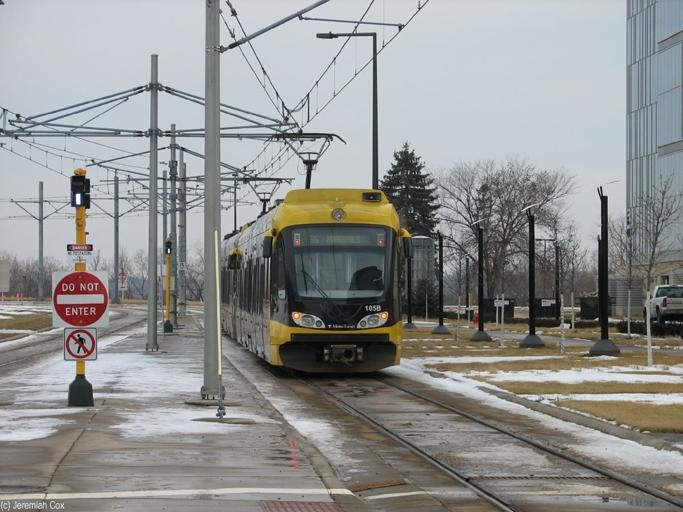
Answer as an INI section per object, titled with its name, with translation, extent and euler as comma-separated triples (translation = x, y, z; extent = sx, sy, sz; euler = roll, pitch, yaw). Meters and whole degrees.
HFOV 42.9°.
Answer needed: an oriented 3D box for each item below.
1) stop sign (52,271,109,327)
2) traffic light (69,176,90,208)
[stop sign]
translation = -4.368, 0.732, 14.529
extent = 0.936, 0.943, 0.041
euler = 0, 6, -3
[traffic light]
translation = -4.908, -1.189, 16.343
extent = 0.320, 0.658, 0.742
euler = 0, -4, -14
